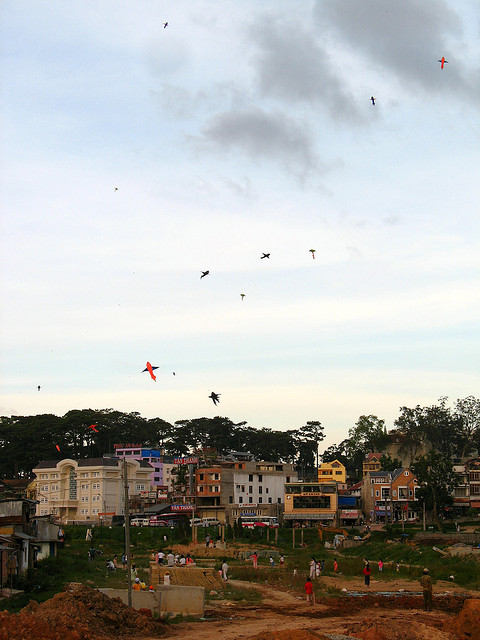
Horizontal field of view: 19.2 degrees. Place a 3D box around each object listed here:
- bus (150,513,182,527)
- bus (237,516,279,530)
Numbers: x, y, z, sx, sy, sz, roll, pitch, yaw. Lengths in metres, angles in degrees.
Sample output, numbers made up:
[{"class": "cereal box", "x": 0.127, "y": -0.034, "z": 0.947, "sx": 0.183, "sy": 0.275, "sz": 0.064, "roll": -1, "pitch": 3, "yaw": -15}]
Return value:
[{"class": "bus", "x": -7.550, "y": 19.524, "z": 137.807, "sx": 3.527, "sy": 1.186, "sz": 1.096, "roll": -7, "pitch": -6, "yaw": 38}, {"class": "bus", "x": 1.822, "y": 19.313, "z": 133.145, "sx": 4.050, "sy": 1.290, "sz": 1.361, "roll": -5, "pitch": -5, "yaw": 6}]
